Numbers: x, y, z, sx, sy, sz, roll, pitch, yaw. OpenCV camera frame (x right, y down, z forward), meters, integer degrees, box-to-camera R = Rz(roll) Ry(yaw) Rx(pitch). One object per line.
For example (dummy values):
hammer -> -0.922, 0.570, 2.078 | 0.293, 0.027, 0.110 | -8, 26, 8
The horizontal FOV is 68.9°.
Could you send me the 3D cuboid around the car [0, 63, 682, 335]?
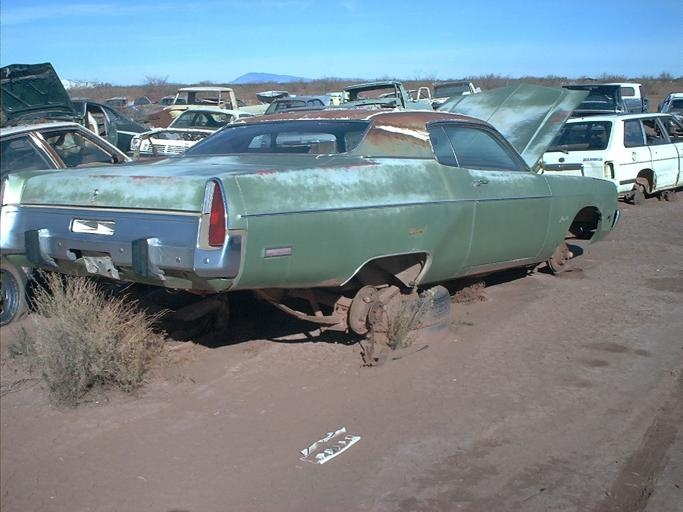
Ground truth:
car -> 0.648, -0.470, 5.312 | 6.561, 1.493, 2.719 | -7, 12, -35
